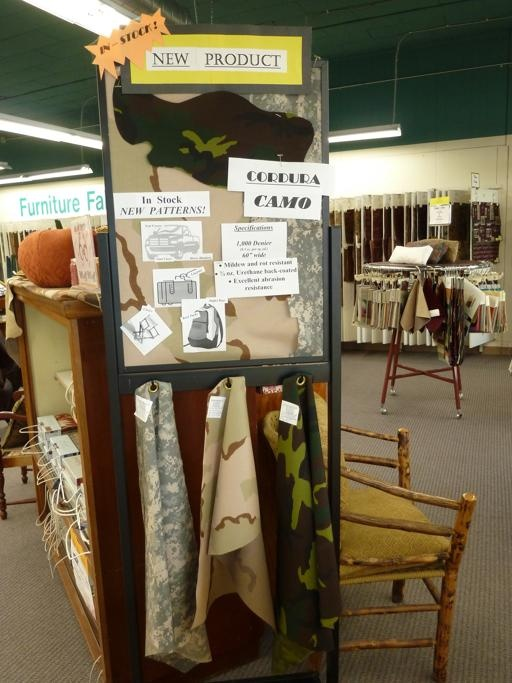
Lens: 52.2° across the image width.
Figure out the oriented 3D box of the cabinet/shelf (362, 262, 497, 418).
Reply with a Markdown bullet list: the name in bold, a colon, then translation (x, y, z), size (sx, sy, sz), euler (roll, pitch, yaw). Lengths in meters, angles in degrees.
- **cabinet/shelf**: translation (1.676, -0.078, 5.111), size (1.400, 1.401, 2.148), euler (0, 12, 11)

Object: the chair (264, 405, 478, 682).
- **chair**: translation (0.455, 0.759, 2.172), size (0.851, 1.260, 0.942), euler (-2, 11, 4)

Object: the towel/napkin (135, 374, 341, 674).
- **towel/napkin**: translation (-0.053, 0.540, 1.354), size (0.482, 0.921, 0.288), euler (-4, 11, -7)
